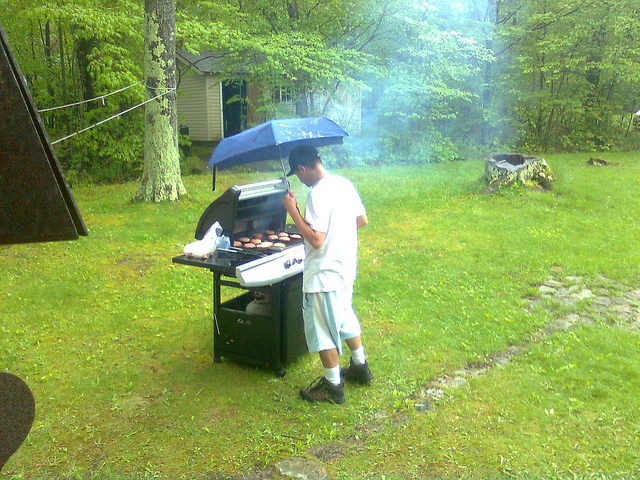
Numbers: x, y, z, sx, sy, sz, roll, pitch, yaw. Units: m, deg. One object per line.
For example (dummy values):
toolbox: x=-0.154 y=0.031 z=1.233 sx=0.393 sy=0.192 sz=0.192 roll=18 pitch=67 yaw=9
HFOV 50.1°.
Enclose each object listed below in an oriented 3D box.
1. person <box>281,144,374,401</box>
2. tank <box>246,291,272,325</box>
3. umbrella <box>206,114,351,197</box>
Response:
person: x=0.100 y=0.443 z=8.567 sx=1.081 sy=3.153 sz=0.712 roll=0 pitch=15 yaw=-4
tank: x=-0.763 y=0.896 z=9.203 sx=0.366 sy=0.395 sz=0.391 roll=2 pitch=8 yaw=16
umbrella: x=-0.589 y=-1.177 z=9.186 sx=1.882 sy=0.893 sz=0.881 roll=-11 pitch=21 yaw=-36
